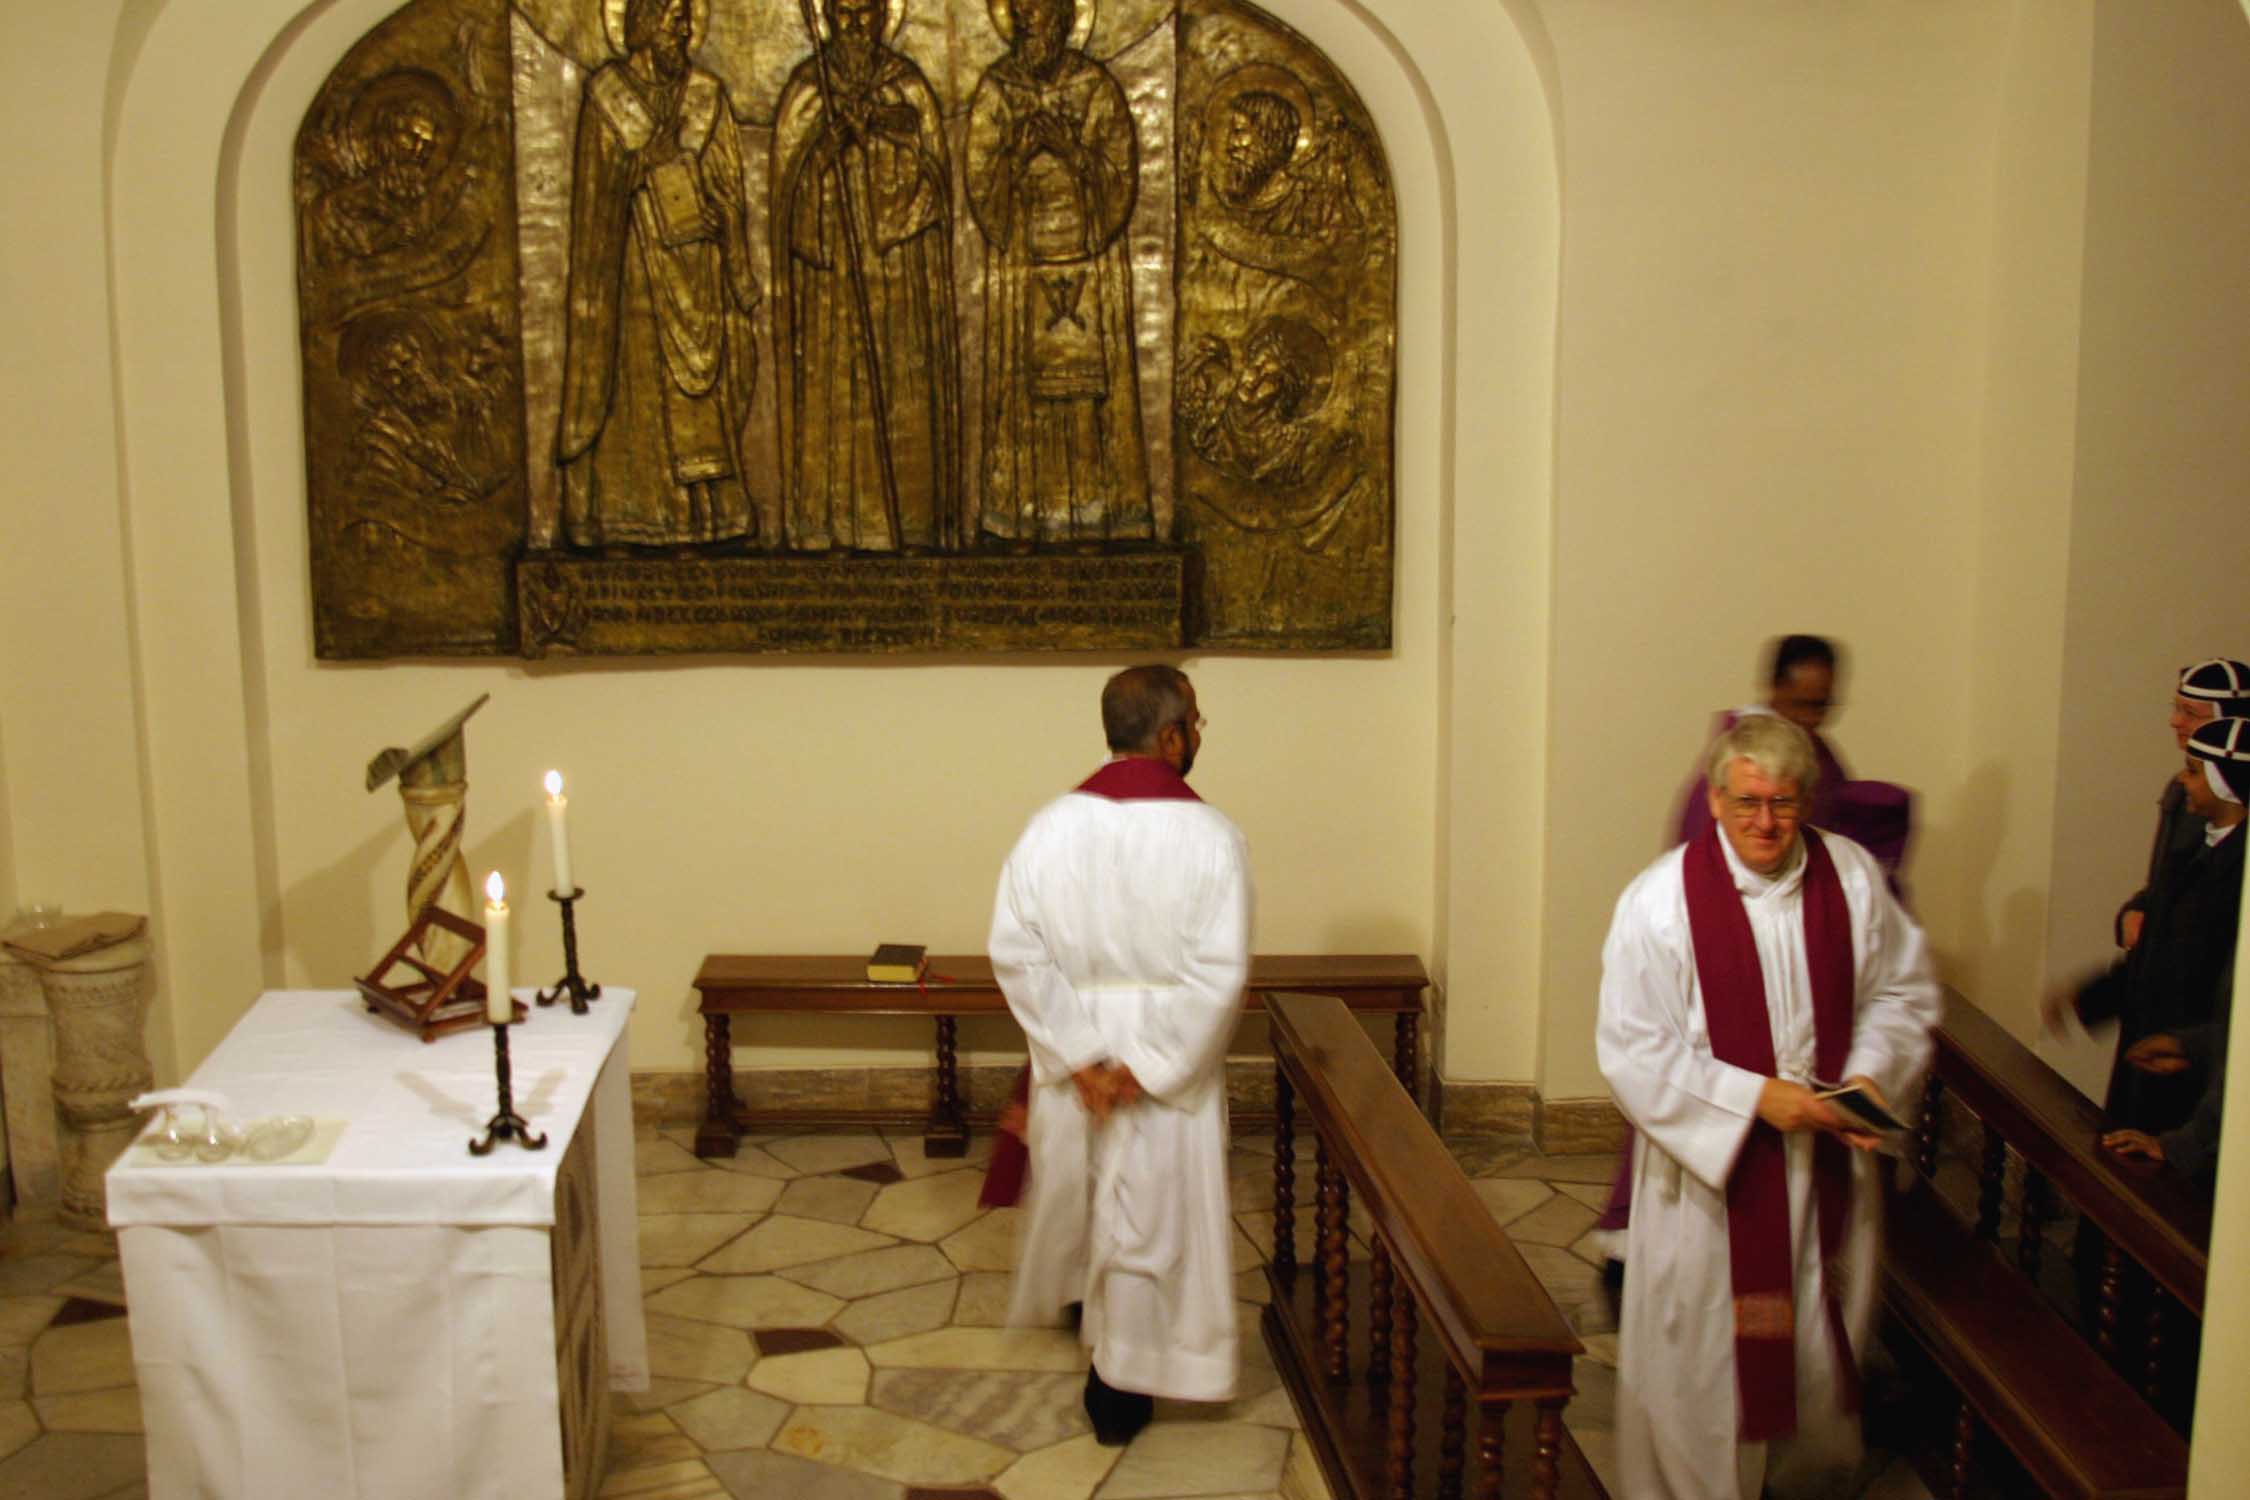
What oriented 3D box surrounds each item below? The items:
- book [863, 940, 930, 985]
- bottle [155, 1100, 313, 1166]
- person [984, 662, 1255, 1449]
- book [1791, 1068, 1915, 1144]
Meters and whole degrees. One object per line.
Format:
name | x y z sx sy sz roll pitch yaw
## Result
book | -1.092 1.016 7.945 0.269 0.127 0.314 -1 6 -2
bottle | -2.677 1.139 4.928 0.290 0.114 0.215 2 2 -6
person | 0.017 1.096 5.933 0.855 2.775 0.312 0 7 3
book | 2.192 1.056 4.983 0.255 0.067 0.229 46 -12 -18
